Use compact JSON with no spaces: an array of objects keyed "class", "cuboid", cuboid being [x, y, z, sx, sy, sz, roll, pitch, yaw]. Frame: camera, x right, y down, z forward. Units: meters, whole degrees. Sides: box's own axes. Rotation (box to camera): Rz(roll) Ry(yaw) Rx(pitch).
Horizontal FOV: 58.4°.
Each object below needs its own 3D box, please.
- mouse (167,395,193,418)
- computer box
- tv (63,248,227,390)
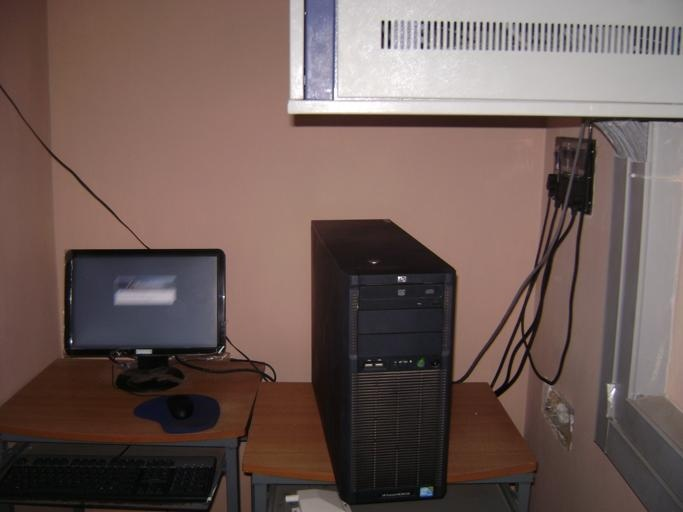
[{"class":"mouse","cuboid":[-0.496,0.460,1.888,0.072,0.045,0.105,-8,15,-29]},{"class":"computer box","cuboid":[0.096,0.272,1.608,0.291,0.655,0.461,2,15,-5]},{"class":"tv","cuboid":[-0.668,0.164,2.056,0.491,0.481,0.126,4,13,-7]}]
